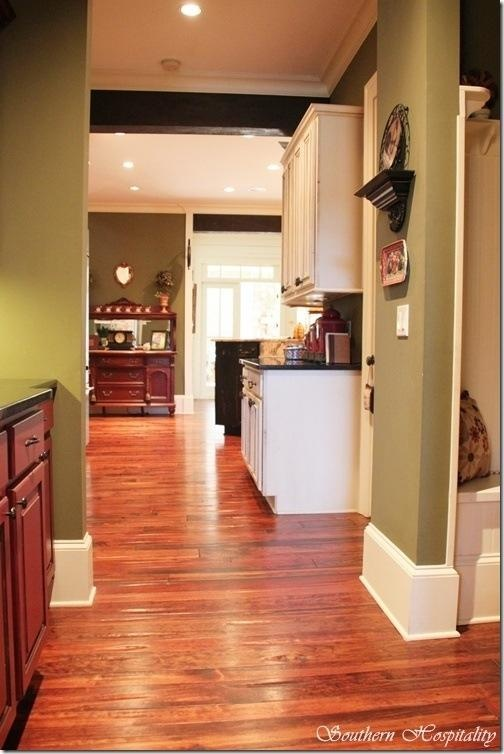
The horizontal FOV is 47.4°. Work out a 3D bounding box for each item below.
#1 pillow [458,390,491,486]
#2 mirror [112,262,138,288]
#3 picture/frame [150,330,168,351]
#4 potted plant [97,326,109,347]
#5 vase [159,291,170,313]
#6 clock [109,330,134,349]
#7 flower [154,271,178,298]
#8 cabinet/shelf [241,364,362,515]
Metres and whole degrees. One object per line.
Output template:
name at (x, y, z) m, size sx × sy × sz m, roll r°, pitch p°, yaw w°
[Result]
pillow at (0.766, 0.207, 1.997) m, size 0.206 × 0.319 × 0.067 m, roll -2°, pitch 3°, yaw -42°
mirror at (-1.717, -1.371, 7.699) m, size 0.220 × 0.295 × 0.299 m, roll 3°, pitch 10°, yaw -2°
picture/frame at (-1.227, -0.480, 7.626) m, size 0.226 × 0.282 × 0.029 m, roll 1°, pitch -1°, yaw 7°
potted plant at (-1.973, -0.528, 7.550) m, size 0.155 × 0.303 × 0.214 m, roll 0°, pitch 2°, yaw -14°
vase at (-1.163, -0.973, 7.610) m, size 0.119 × 0.275 × 0.117 m, roll 0°, pitch 2°, yaw -13°
clock at (-1.713, -0.484, 7.533) m, size 0.338 × 0.331 × 0.200 m, roll 2°, pitch -19°, yaw -8°
flower at (-1.157, -1.258, 7.675) m, size 0.305 × 0.356 × 0.251 m, roll 0°, pitch 2°, yaw -11°
cabinet/shelf at (0.289, 0.394, 3.545) m, size 0.590 × 0.955 × 1.184 m, roll 1°, pitch 0°, yaw -1°
